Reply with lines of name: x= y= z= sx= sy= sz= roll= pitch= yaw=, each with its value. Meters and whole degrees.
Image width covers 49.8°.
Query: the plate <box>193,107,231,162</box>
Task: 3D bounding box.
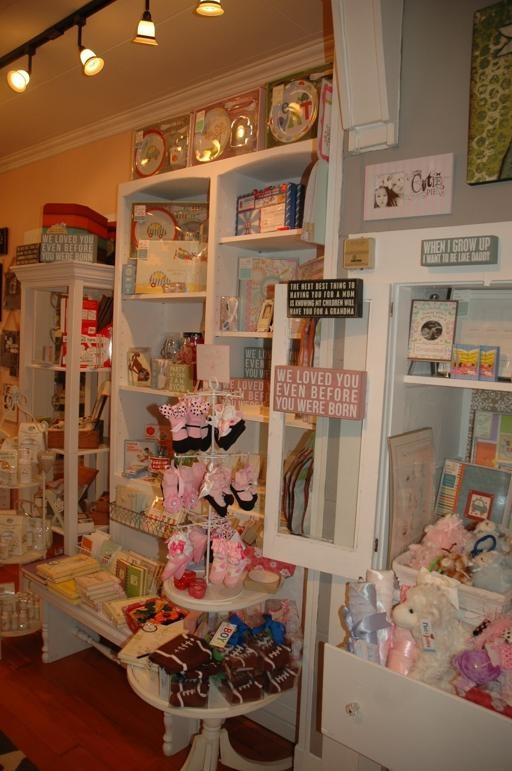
plate: x=-0.167 y=-1.045 z=2.377 sx=0.053 sy=0.224 sz=0.231 roll=-7 pitch=33 yaw=-40

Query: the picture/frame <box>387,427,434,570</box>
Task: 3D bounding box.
picture/frame: x=0.428 y=0.318 z=1.550 sx=0.037 sy=0.470 sz=0.364 roll=2 pitch=3 yaw=32

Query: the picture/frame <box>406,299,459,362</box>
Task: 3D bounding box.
picture/frame: x=0.459 y=-0.145 z=1.438 sx=0.017 sy=0.210 sz=0.149 roll=-3 pitch=7 yaw=-43

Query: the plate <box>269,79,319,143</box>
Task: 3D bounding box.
plate: x=0.149 y=-1.009 z=2.052 sx=0.225 sy=0.231 sz=0.040 roll=13 pitch=8 yaw=41

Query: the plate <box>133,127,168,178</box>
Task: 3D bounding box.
plate: x=-0.477 y=-1.099 z=2.672 sx=0.047 sy=0.228 sz=0.226 roll=-2 pitch=1 yaw=-42

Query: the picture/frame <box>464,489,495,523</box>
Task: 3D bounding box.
picture/frame: x=0.692 y=0.374 z=1.705 sx=0.010 sy=0.073 sz=0.093 roll=17 pitch=9 yaw=-22
